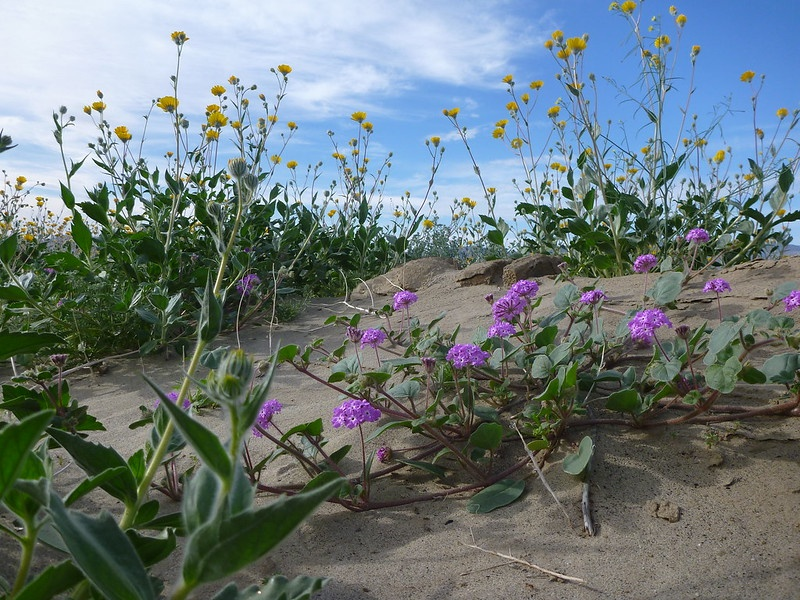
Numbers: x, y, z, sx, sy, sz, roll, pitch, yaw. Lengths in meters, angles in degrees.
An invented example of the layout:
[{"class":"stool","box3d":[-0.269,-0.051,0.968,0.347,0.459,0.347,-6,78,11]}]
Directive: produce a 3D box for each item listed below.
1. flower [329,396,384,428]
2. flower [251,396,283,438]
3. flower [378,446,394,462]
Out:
[{"class":"flower","box3d":[-0.189,0.474,1.995,0.173,0.126,0.142,4,9,29]},{"class":"flower","box3d":[-0.557,0.505,2.095,0.078,0.194,0.334,-2,8,-8]},{"class":"flower","box3d":[-0.067,0.700,2.249,0.081,0.062,0.068,0,8,4]}]
